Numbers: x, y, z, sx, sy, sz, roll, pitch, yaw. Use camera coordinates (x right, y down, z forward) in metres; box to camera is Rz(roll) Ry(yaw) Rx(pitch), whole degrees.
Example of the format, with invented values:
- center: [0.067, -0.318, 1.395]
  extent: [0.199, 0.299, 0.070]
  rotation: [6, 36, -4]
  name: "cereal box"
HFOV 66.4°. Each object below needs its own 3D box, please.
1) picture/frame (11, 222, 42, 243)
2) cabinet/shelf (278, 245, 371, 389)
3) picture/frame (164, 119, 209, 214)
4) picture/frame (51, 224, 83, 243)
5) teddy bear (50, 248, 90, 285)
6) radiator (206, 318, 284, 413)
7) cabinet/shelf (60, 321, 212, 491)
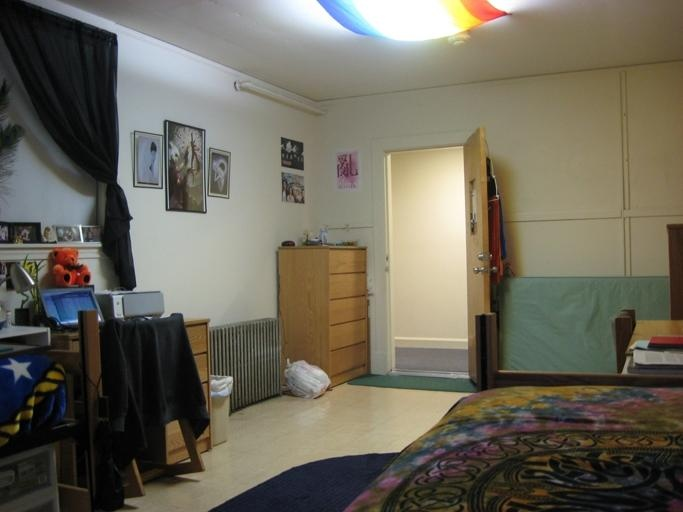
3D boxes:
- center: [-2.041, -0.149, 3.369]
  extent: [0.013, 0.098, 0.126]
  rotation: [-10, -12, 32]
  name: "picture/frame"
- center: [-0.153, 0.628, 5.591]
  extent: [1.030, 1.468, 0.620]
  rotation: [-1, 2, -13]
  name: "cabinet/shelf"
- center: [-1.340, -0.758, 4.516]
  extent: [0.089, 0.757, 0.453]
  rotation: [0, 2, 23]
  name: "picture/frame"
- center: [-1.892, -0.151, 3.617]
  extent: [0.033, 0.113, 0.191]
  rotation: [1, 2, 30]
  name: "picture/frame"
- center: [-1.796, 0.051, 3.559]
  extent: [0.206, 0.299, 0.290]
  rotation: [1, 2, 27]
  name: "teddy bear"
- center: [-0.859, 0.962, 4.566]
  extent: [0.233, 0.808, 0.836]
  rotation: [1, 3, 35]
  name: "radiator"
- center: [-1.208, 0.874, 3.011]
  extent: [0.500, 0.964, 1.031]
  rotation: [-1, -1, 13]
  name: "cabinet/shelf"
